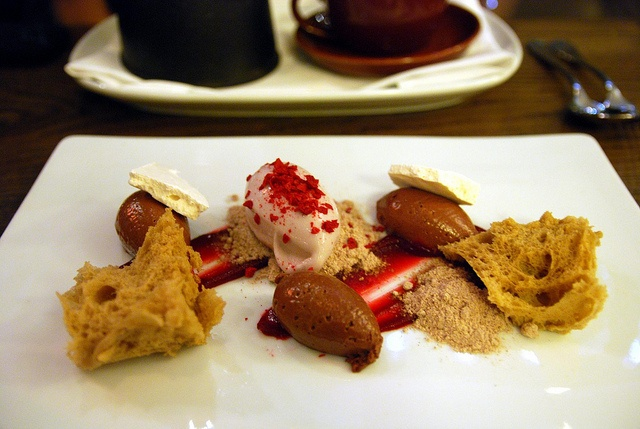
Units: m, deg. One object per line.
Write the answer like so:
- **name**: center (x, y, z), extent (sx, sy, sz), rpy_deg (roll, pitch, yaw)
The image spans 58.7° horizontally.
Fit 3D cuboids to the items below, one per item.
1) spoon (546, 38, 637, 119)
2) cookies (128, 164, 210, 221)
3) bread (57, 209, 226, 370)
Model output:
- **spoon**: center (1.148, -0.555, 2.403), extent (0.157, 0.071, 0.485), rpy_deg (-16, 47, 0)
- **cookies**: center (-0.493, -0.078, 1.847), extent (0.054, 0.203, 0.204), rpy_deg (-52, 28, 20)
- **bread**: center (-0.579, 0.207, 1.788), extent (0.510, 0.157, 0.501), rpy_deg (40, 109, 49)
